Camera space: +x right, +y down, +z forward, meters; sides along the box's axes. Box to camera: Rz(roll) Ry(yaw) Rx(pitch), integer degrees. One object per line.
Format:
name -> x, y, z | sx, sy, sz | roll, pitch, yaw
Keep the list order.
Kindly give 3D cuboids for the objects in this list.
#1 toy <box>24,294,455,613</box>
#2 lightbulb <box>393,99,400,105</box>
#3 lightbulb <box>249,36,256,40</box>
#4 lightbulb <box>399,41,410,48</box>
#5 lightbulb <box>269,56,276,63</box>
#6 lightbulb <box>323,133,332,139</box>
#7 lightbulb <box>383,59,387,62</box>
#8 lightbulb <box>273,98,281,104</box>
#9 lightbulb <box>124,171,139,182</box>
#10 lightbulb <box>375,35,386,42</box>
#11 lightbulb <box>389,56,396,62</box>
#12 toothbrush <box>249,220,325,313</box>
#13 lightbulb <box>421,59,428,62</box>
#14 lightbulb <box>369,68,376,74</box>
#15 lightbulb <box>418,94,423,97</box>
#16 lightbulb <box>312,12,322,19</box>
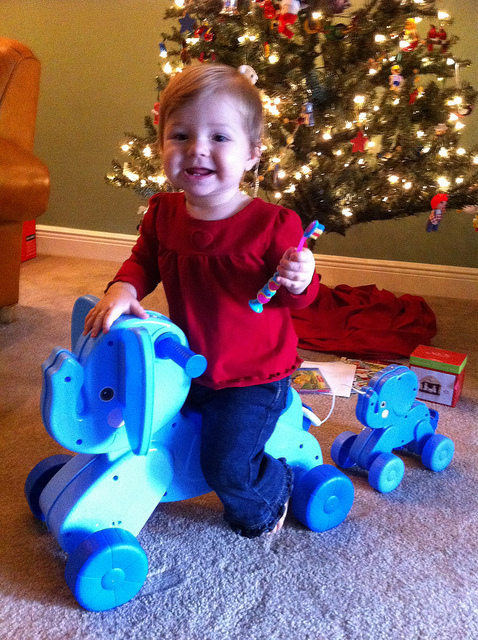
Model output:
toy -> 0.074, 0.108, 0.998 | 0.899, 0.436, 0.338 | -7, 15, -32
lightbulb -> 0.488, -0.676, 1.569 | 0.015, 0.013, 0.007 | 8, 17, 3
lightbulb -> 0.040, -0.837, 1.504 | 0.020, 0.007, 0.015 | 7, 16, 0
lightbulb -> 0.474, -0.794, 1.461 | 0.032, 0.015, 0.018 | 18, 20, 34
lightbulb -> 0.101, -0.784, 1.526 | 0.022, 0.015, 0.015 | 7, 16, 2
lightbulb -> 0.281, -0.586, 1.615 | 0.020, 0.008, 0.025 | 0, -2, 1
lightbulb -> 0.443, -0.788, 1.537 | 0.018, 0.009, 0.004 | -13, 18, -26
lightbulb -> 0.119, -0.681, 1.576 | 0.021, 0.018, 0.009 | 5, 17, -7
lightbulb -> -0.381, -0.505, 1.779 | 0.031, 0.010, 0.040 | 20, -10, 6
lightbulb -> 0.408, -0.812, 1.460 | 0.028, 0.014, 0.023 | 10, 17, 12
lightbulb -> 0.471, -0.797, 1.550 | 0.010, 0.017, 0.019 | -9, 23, -44
toothbrush -> 0.062, -0.073, 0.655 | 0.073, 0.120, 0.102 | 9, 17, 7
lightbulb -> 0.561, -0.783, 1.531 | 0.016, 0.008, 0.004 | 4, 17, -10
lightbulb -> 0.406, -0.755, 1.539 | 0.009, 0.009, 0.017 | -5, 14, -8
lightbulb -> 0.553, -0.682, 1.543 | 0.013, 0.007, 0.003 | 1, 18, -19
lightbulb -> 0.215, -0.836, 1.394 | 0.023, 0.016, 0.005 | -7, -16, -11
